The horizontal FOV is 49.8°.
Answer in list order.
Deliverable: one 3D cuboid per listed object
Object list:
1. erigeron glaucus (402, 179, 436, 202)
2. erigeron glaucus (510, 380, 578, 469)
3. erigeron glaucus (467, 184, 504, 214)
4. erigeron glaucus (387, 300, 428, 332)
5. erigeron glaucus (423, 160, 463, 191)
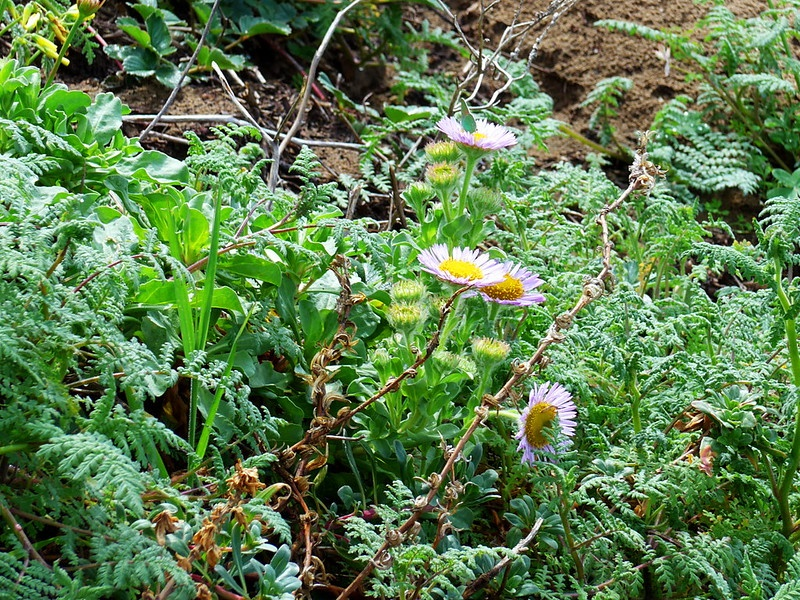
[{"bbox_3d":[0.041,-0.284,2.210,0.058,0.036,0.056,-5,14,-26],"label":"erigeron glaucus"},{"bbox_3d":[0.308,0.242,1.900,0.128,0.056,0.138,-20,8,0],"label":"erigeron glaucus"},{"bbox_3d":[0.217,-0.240,2.201,0.069,0.075,0.070,3,28,-45],"label":"erigeron glaucus"},{"bbox_3d":[0.016,0.037,1.886,0.065,0.070,0.070,11,32,26],"label":"erigeron glaucus"},{"bbox_3d":[0.106,-0.301,2.133,0.079,0.044,0.058,10,48,-3],"label":"erigeron glaucus"}]
